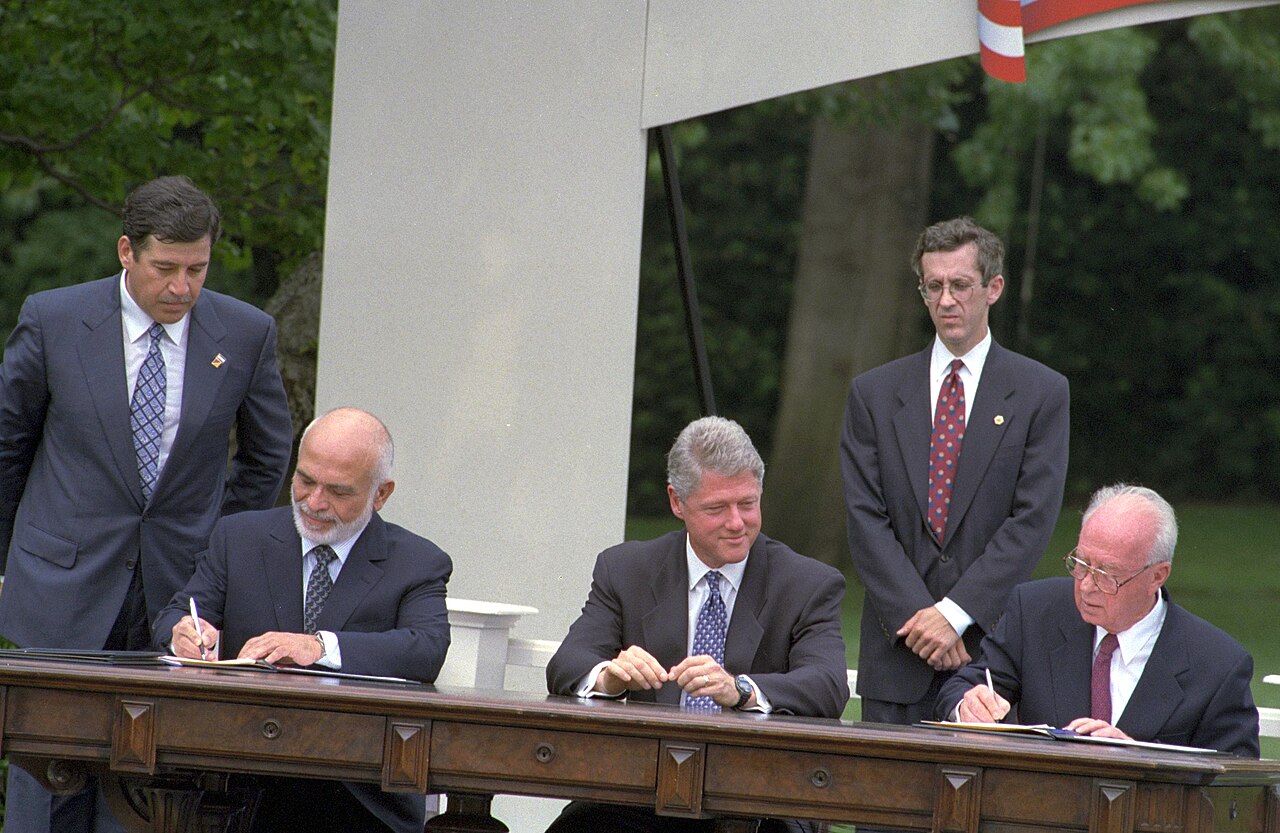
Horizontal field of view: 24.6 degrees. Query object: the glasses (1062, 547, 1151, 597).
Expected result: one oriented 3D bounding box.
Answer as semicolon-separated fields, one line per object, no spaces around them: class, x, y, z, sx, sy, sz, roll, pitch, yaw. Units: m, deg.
glasses;2.541;0.894;15.975;0.465;0.223;0.166;2;0;14
